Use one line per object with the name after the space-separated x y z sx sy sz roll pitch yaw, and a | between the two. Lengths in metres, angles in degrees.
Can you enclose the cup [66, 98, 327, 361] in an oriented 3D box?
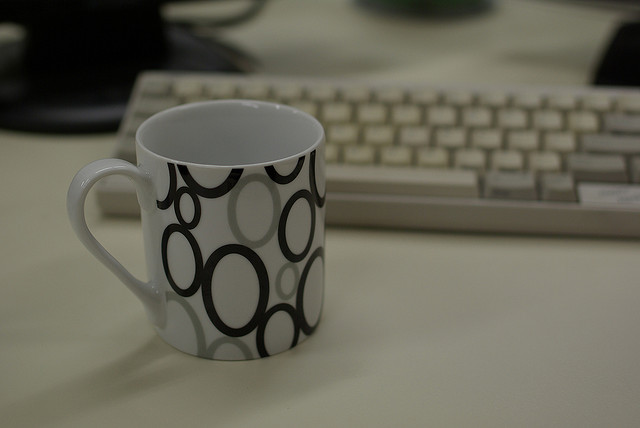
-0.073 0.017 0.355 0.151 0.118 0.101 -8 18 -31 | cup
